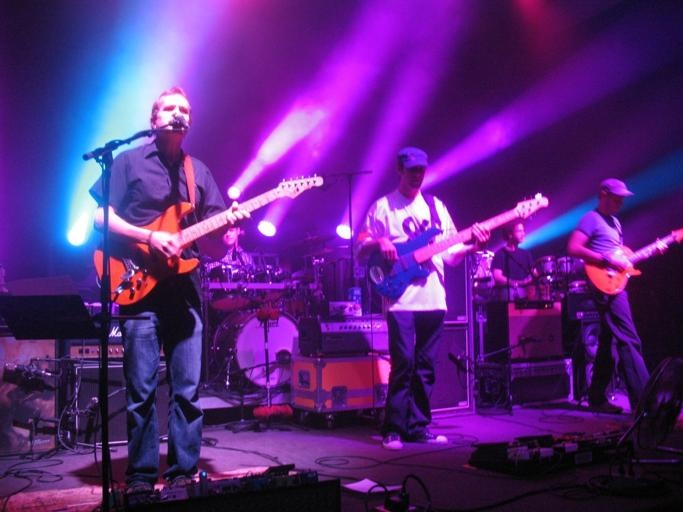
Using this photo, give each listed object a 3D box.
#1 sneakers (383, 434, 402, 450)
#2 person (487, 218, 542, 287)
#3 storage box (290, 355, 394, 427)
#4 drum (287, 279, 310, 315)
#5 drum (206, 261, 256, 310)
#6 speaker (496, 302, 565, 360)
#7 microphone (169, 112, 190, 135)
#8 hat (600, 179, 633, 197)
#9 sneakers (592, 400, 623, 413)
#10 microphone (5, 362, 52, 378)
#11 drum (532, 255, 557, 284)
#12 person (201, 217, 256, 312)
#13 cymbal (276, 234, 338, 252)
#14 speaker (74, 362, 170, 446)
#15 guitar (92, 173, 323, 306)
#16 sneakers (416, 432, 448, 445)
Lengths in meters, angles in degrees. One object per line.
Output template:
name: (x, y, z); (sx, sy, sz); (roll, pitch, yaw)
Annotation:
sneakers: (0.500, 1.777, 6.566); (0.207, 0.109, 0.299); (-1, 2, 3)
person: (2.426, 0.030, 9.324); (0.629, 1.099, 0.647); (-2, 5, -6)
storage box: (0.020, 1.546, 7.909); (1.098, 0.766, 0.654); (4, -10, -37)
drum: (-0.608, 0.600, 9.821); (0.299, 0.495, 0.108); (0, 8, -2)
drum: (-1.570, 0.476, 9.385); (0.611, 0.753, 0.640); (0, -13, -22)
speaker: (2.430, 1.066, 8.660); (0.781, 0.782, 0.479); (0, -17, -3)
microphone: (-1.300, -1.081, 5.452); (0.159, 0.155, 0.319); (-1, 2, -14)
hat: (3.181, -0.793, 7.961); (0.274, 0.205, 0.382); (-6, 19, -41)
sneakers: (3.123, 1.767, 7.967); (0.283, 0.129, 0.140); (-5, -9, 21)
microphone: (-3.049, 1.115, 6.647); (0.168, 0.089, 0.281); (9, -9, 38)
drum: (2.761, 0.183, 9.156); (0.264, 0.452, 0.439); (2, -8, -5)
person: (-1.654, 0.063, 9.815); (0.913, 1.631, 1.524); (1, 4, 0)
cymbal: (-0.485, -0.211, 10.368); (0.420, 0.113, 0.444); (-22, -10, 14)
speaker: (-2.296, 1.626, 7.328); (0.663, 1.272, 1.192); (17, -19, -28)
guitar: (-1.363, -0.150, 7.228); (1.843, 0.694, 0.273); (-35, 11, -18)
sneakers: (0.901, 1.792, 6.688); (0.307, 0.141, 0.123); (-3, -6, 12)
